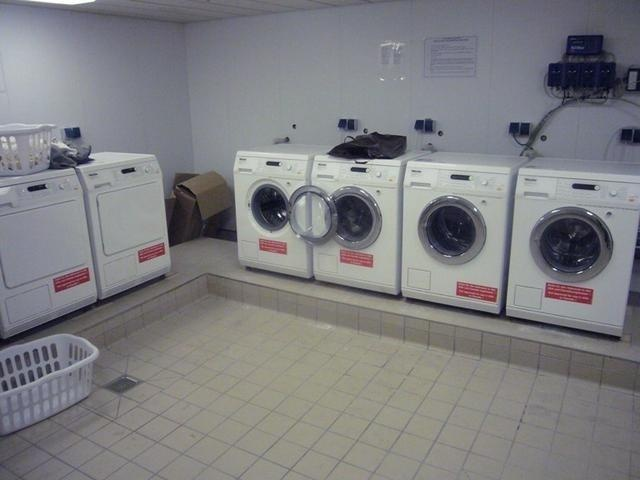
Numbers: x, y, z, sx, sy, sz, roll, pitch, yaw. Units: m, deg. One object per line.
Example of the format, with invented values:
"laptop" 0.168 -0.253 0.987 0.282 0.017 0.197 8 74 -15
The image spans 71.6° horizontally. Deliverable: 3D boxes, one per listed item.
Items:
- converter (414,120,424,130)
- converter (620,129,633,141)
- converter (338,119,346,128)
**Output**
"converter" 1.053 -1.224 4.716 0.096 0.098 0.023 7 5 27
"converter" 2.679 -0.922 3.875 0.094 0.133 0.069 7 10 41
"converter" 0.254 -1.347 5.130 0.097 0.095 0.055 6 10 38
